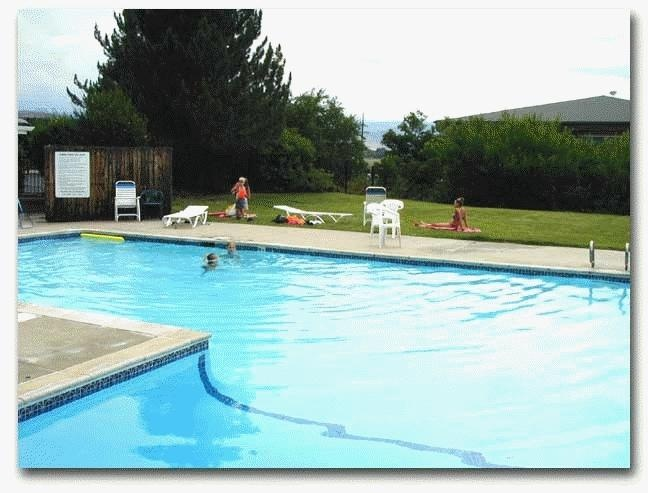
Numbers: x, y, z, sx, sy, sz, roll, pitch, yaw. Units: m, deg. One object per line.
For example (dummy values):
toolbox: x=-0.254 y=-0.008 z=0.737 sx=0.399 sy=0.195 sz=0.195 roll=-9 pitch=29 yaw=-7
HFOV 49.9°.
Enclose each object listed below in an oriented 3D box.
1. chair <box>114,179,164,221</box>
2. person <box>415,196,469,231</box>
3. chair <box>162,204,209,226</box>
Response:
chair: x=-5.282 y=-1.322 z=19.905 sx=1.364 sy=1.130 sz=1.319 roll=-3 pitch=10 yaw=-18
person: x=3.065 y=-0.895 z=18.064 sx=1.356 sy=0.869 sz=0.764 roll=6 pitch=7 yaw=30
chair: x=-3.655 y=-0.814 z=18.896 sx=0.639 sy=0.414 sz=1.216 roll=2 pitch=6 yaw=14
